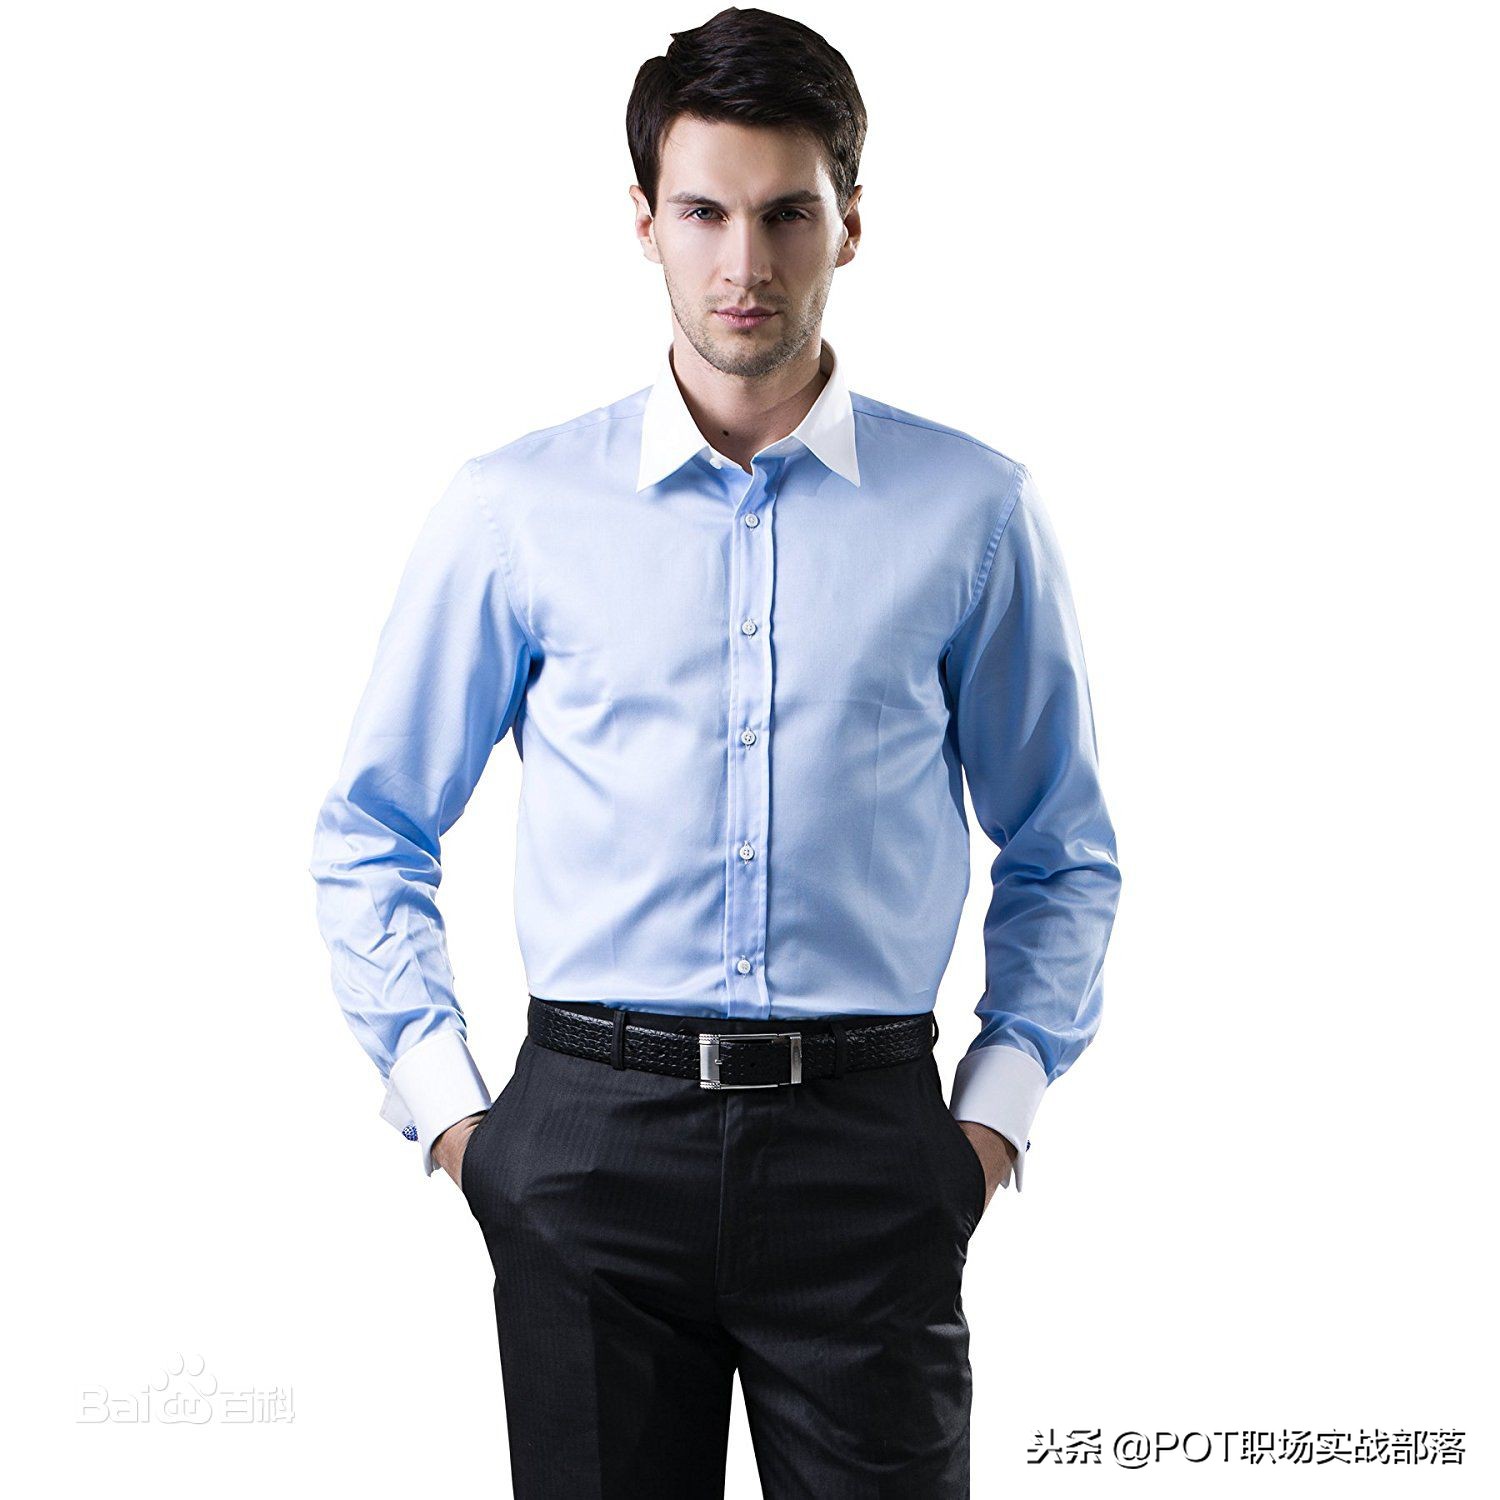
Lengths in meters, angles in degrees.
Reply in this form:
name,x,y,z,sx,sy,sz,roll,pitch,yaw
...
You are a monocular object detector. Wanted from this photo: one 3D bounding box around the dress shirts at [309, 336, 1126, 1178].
name,x,y,z,sx,sy,sz,roll,pitch,yaw
dress shirts,-0.033,0.001,3.182,1.351,1.227,0.532,1,3,-5
